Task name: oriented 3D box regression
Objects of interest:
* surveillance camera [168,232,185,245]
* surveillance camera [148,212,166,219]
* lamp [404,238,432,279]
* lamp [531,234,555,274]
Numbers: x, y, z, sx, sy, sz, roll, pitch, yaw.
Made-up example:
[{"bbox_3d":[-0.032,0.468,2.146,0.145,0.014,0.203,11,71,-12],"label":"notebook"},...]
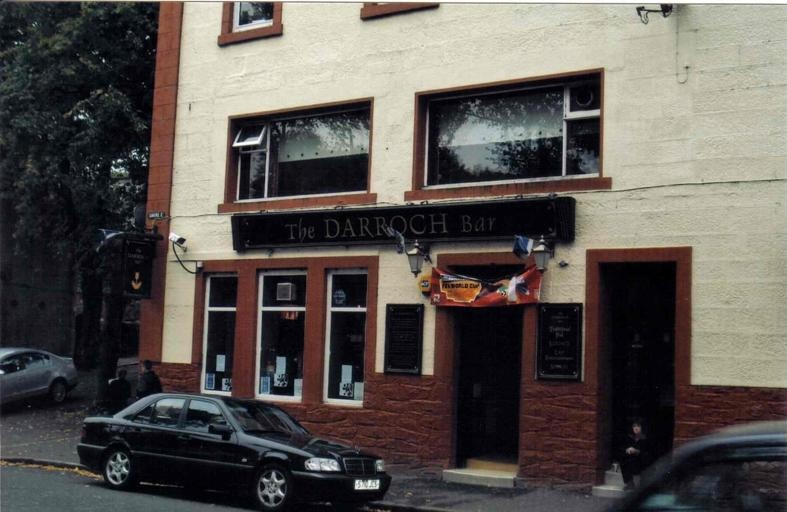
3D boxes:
[{"bbox_3d":[-5.892,-0.471,26.590,0.439,0.105,0.237,16,-41,26],"label":"surveillance camera"},{"bbox_3d":[-6.521,-1.103,27.043,0.600,0.221,0.128,-3,-8,32],"label":"surveillance camera"},{"bbox_3d":[0.575,0.068,23.674,0.613,0.888,0.416,7,-9,-41],"label":"lamp"},{"bbox_3d":[3.432,-0.049,22.454,0.357,0.823,0.481,-5,-9,41],"label":"lamp"}]
